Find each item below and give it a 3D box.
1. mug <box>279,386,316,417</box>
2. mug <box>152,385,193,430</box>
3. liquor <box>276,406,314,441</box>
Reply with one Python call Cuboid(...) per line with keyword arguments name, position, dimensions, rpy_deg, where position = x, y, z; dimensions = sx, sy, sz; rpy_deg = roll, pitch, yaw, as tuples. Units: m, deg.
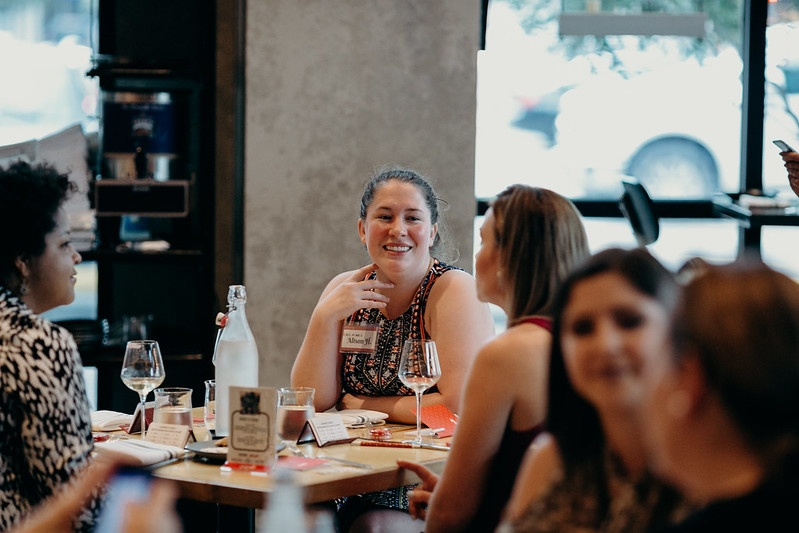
Cuboid(name="mug", position=(-0.317, 0.420, 2.658), dimensions=(0.087, 0.088, 0.089), rpy_deg=(0, -4, 40))
Cuboid(name="mug", position=(-0.727, 0.461, 2.746), dimensions=(0.130, 0.144, 0.134), rpy_deg=(1, -10, 0))
Cuboid(name="liquor", position=(-0.327, 0.478, 2.625), dimensions=(0.100, 0.098, 0.102), rpy_deg=(0, -4, 21))
